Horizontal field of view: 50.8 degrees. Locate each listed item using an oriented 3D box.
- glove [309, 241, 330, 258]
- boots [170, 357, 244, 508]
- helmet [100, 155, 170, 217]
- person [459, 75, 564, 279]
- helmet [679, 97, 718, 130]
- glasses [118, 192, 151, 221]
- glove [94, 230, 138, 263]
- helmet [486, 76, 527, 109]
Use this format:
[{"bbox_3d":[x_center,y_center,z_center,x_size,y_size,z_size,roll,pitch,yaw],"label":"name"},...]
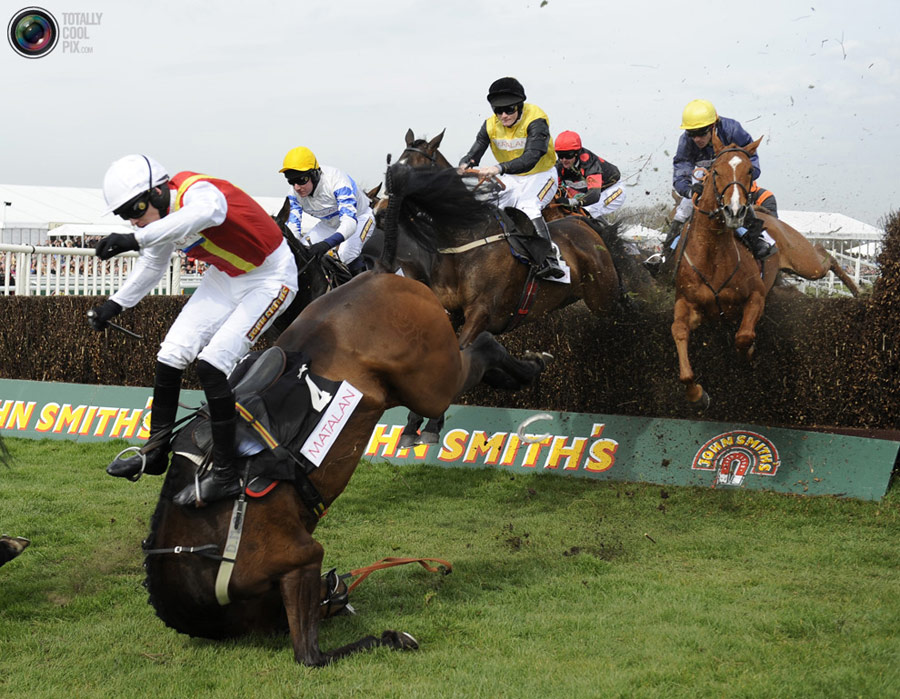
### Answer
[{"bbox_3d":[-0.909,-0.697,6.552,0.122,0.078,0.113,8,18,13],"label":"glove"},{"bbox_3d":[-1.041,0.356,4.031,0.278,0.594,0.249,-2,9,-14],"label":"boots"},{"bbox_3d":[-1.453,-0.780,4.306,0.357,0.198,0.249,-25,24,-11],"label":"helmet"},{"bbox_3d":[0.454,-1.343,7.347,0.677,1.437,0.929,-1,13,18],"label":"person"},{"bbox_3d":[1.944,-1.828,7.388,0.244,0.225,0.247,3,9,18],"label":"helmet"},{"bbox_3d":[-1.413,-0.637,4.299,0.108,0.075,0.133,0,47,30],"label":"glasses"},{"bbox_3d":[-1.454,-0.453,4.114,0.166,0.113,0.209,-7,11,-41],"label":"glove"},{"bbox_3d":[0.403,-1.883,6.840,0.251,0.227,0.681,0,8,3],"label":"helmet"}]
